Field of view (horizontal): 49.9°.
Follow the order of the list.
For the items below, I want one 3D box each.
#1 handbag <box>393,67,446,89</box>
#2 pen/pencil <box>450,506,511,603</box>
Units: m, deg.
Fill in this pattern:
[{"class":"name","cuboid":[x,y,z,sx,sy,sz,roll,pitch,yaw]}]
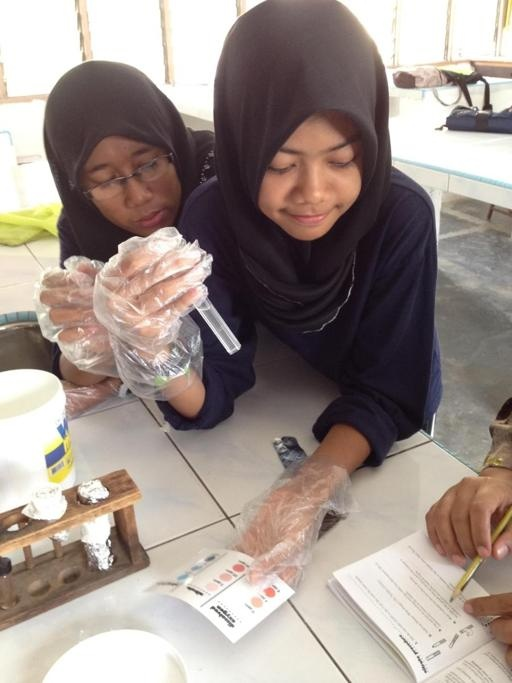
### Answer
[{"class":"handbag","cuboid":[1.032,-1.635,3.464,0.280,0.107,0.166,4,37,7]},{"class":"pen/pencil","cuboid":[0.280,0.270,0.685,0.014,0.108,0.011,34,6,-16]}]
